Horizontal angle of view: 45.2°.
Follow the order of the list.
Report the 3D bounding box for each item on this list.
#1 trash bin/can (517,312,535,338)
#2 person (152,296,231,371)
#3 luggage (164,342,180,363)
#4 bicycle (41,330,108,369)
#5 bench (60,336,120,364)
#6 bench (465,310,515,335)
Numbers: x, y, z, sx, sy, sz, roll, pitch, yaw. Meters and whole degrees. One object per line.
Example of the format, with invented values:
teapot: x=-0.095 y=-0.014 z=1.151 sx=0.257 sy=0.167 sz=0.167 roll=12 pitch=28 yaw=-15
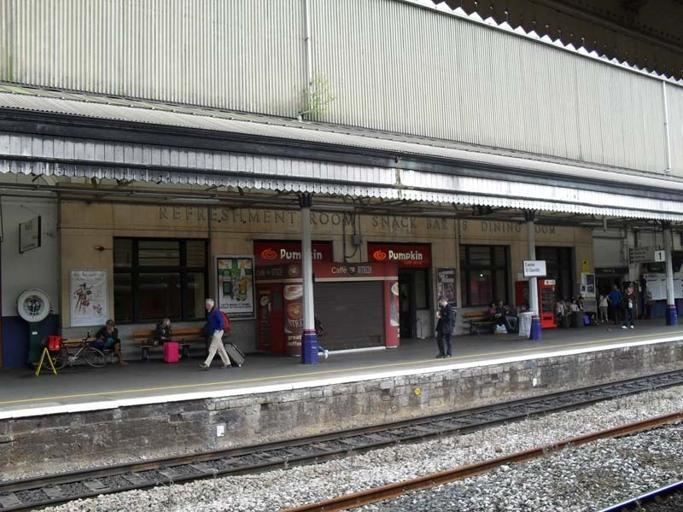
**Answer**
trash bin/can: x=6.373 y=2.406 z=28.488 sx=0.646 sy=1.102 sz=0.649 roll=2 pitch=-9 yaw=-4
person: x=-3.485 y=2.040 z=21.992 sx=1.151 sy=2.746 sz=0.985 roll=0 pitch=-1 yaw=-19
luggage: x=-4.812 y=2.747 z=23.415 sx=0.420 sy=0.775 sz=0.490 roll=-1 pitch=0 yaw=-9
bicycle: x=-7.372 y=2.604 z=22.546 sx=1.144 sy=0.961 sz=0.539 roll=-1 pitch=-1 yaw=-18
bench: x=-6.904 y=2.737 z=22.839 sx=1.334 sy=1.090 sz=0.740 roll=-1 pitch=-1 yaw=-12
bench: x=5.441 y=2.449 z=30.305 sx=1.881 sy=0.718 sz=0.810 roll=-3 pitch=-1 yaw=-28
